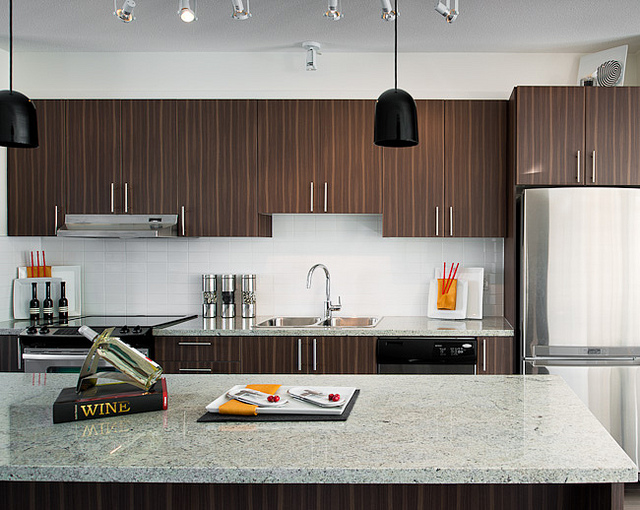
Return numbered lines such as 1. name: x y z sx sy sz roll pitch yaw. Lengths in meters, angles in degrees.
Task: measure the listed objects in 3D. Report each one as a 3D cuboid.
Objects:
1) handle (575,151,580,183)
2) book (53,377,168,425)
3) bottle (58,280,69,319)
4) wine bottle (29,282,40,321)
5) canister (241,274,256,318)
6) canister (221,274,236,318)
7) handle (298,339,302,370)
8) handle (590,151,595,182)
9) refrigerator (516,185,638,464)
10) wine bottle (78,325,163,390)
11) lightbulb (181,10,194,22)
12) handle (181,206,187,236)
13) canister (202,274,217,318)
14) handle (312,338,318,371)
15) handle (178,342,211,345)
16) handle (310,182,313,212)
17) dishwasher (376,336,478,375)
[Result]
1. handle: 1.701 -0.586 4.086 0.027 0.200 0.041 0 11 2
2. book: -0.838 0.574 2.486 0.421 0.092 0.217 -3 12 -15
3. bottle: -1.926 0.336 4.603 0.079 0.272 0.247 -4 12 -22
4. wine bottle: -2.110 0.341 4.530 0.068 0.255 0.172 -5 12 -25
5. canister: -0.543 0.303 4.635 0.116 0.317 0.199 -1 11 -7
6. canister: -0.689 0.300 4.598 0.111 0.321 0.194 -1 11 -7
7. handle: -0.134 0.654 4.054 0.023 0.198 0.043 7 12 32
8. handle: 1.801 -0.590 4.084 0.025 0.199 0.046 1 11 6
9. refrigerator: 1.660 0.400 4.024 0.814 1.659 0.397 3 11 17
10. wine bottle: -0.823 0.393 2.480 0.359 0.106 0.112 35 35 0
11. lightbulb: -0.737 -1.328 3.408 0.067 0.048 0.058 4 12 21
12. handle: -0.985 -0.248 4.431 0.034 0.208 0.040 -3 11 -13
13. canister: -0.813 0.316 4.623 0.127 0.349 0.129 -1 -4 0
14. handle: -0.039 0.655 4.056 0.032 0.215 0.033 -1 11 -7
15. handle: -0.834 0.585 4.068 0.216 0.015 0.016 0 11 1
16. handle: -0.067 -0.417 4.385 0.022 0.201 0.039 -1 11 -6
17. dishwasher: 0.694 0.653 4.033 0.660 0.237 0.059 0 11 1
